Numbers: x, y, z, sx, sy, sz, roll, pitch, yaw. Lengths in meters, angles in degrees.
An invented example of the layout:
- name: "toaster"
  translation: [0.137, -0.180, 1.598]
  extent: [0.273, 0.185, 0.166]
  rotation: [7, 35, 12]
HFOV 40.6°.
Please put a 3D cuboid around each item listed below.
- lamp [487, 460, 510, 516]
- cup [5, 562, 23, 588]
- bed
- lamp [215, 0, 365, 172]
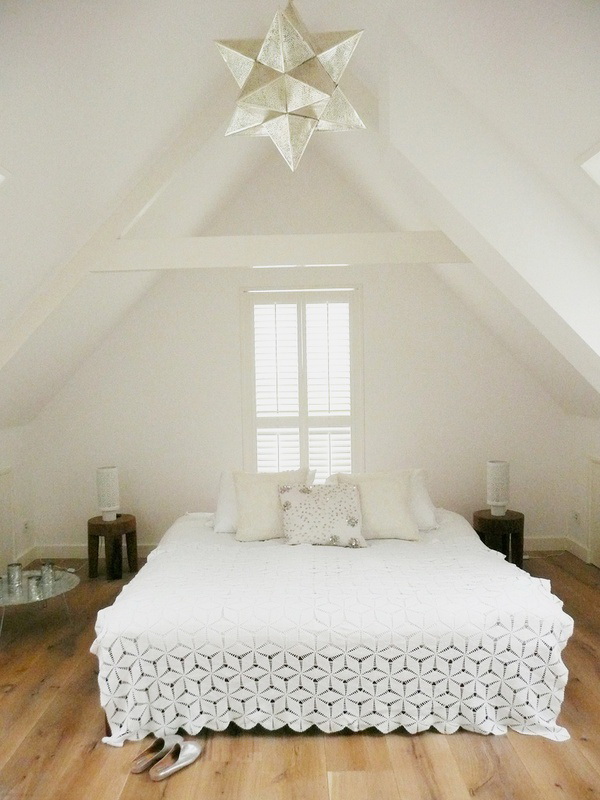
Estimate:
- name: "lamp"
  translation: [1.169, 0.521, 4.795]
  extent: [0.116, 0.307, 0.236]
  rotation: [0, 6, 16]
- name: "cup"
  translation: [-1.362, 0.850, 3.911]
  extent: [0.095, 0.133, 0.089]
  rotation: [1, -11, 0]
- name: "bed"
  translation: [0.125, 0.969, 3.325]
  extent: [1.813, 0.475, 0.913]
  rotation: [-1, 6, 2]
- name: "lamp"
  translation: [-0.082, -0.990, 2.584]
  extent: [0.355, 0.409, 0.462]
  rotation: [-6, 7, -33]
